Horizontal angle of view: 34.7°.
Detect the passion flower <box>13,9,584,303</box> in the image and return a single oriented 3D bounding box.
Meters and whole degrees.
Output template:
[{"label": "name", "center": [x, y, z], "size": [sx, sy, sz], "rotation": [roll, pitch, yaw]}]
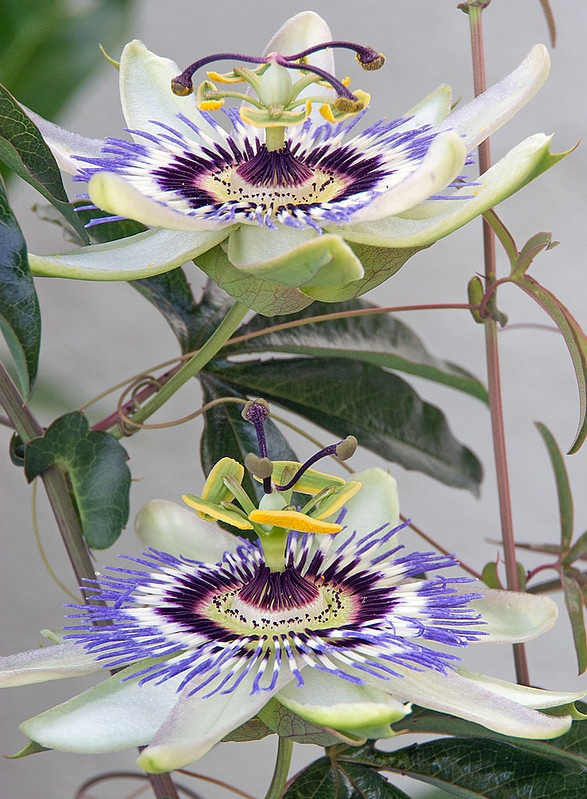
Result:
[{"label": "passion flower", "center": [0.024, -0.151, 0.745], "size": [0.337, 0.134, 0.314], "rotation": [-25, 38, -25]}]
